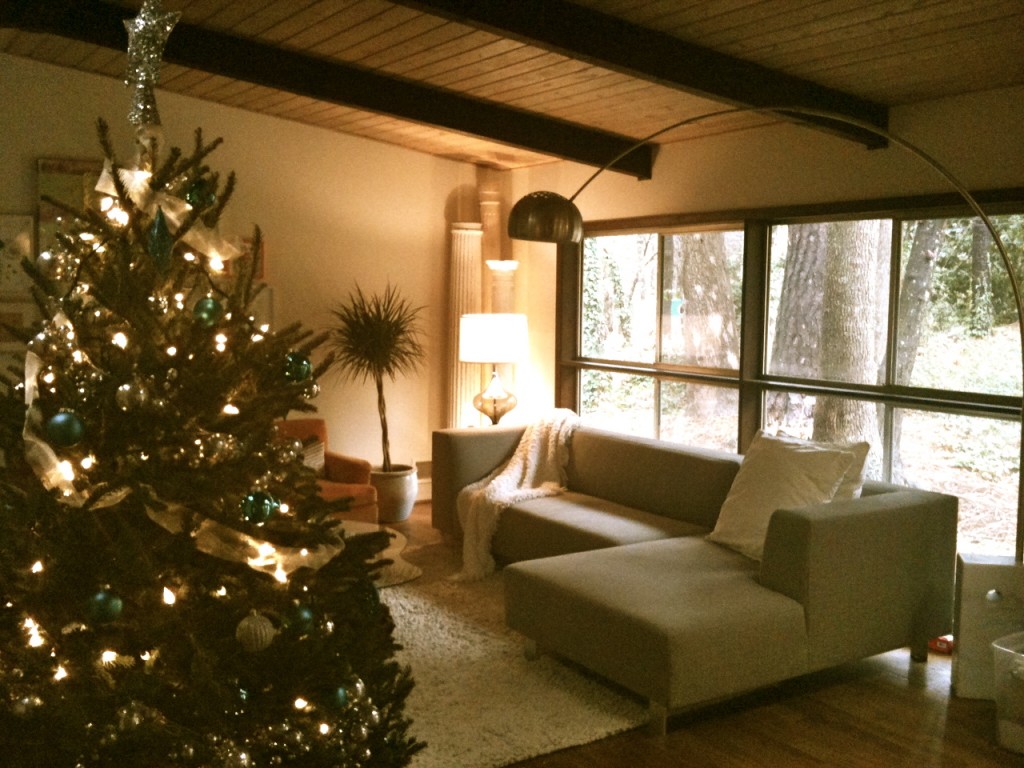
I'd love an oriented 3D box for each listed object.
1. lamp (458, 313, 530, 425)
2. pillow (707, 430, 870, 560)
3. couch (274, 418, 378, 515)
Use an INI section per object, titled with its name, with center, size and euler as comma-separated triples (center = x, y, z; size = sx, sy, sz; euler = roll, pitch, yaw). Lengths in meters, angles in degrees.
[lamp]
center = -0.128, -0.021, 6.277
size = 0.382, 0.611, 0.395
euler = 9, 13, 24
[pillow]
center = 1.301, 0.523, 4.186
size = 0.185, 0.571, 0.603
euler = 24, -11, -28
[couch]
center = -1.248, 0.550, 5.906
size = 0.566, 0.649, 1.400
euler = -3, 9, -21
